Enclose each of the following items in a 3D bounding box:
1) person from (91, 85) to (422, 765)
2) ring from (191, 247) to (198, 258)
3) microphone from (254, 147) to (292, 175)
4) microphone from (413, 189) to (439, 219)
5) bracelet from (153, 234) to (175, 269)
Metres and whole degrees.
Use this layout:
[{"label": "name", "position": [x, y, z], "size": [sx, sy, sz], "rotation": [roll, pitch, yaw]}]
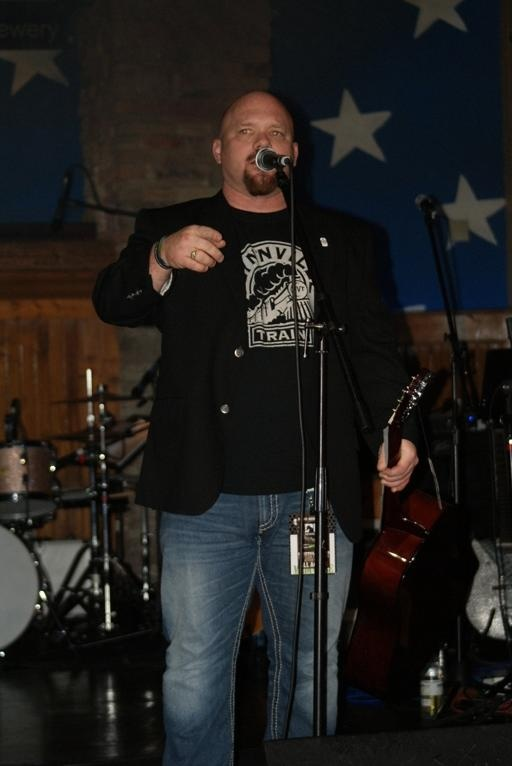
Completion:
[{"label": "person", "position": [0.034, 0.073, 2.013], "size": [0.732, 1.634, 0.457], "rotation": [-4, -4, -22]}, {"label": "ring", "position": [-0.128, -0.267, 1.753], "size": [0.015, 0.019, 0.004], "rotation": [-7, -4, 33]}, {"label": "microphone", "position": [0.035, -0.498, 1.897], "size": [0.066, 0.050, 0.080], "rotation": [5, 22, -21]}, {"label": "microphone", "position": [0.715, -0.748, 3.544], "size": [0.095, 0.040, 0.165], "rotation": [-1, 1, -1]}, {"label": "bracelet", "position": [-0.214, -0.294, 1.883], "size": [0.026, 0.061, 0.060], "rotation": [-3, -15, 30]}]
